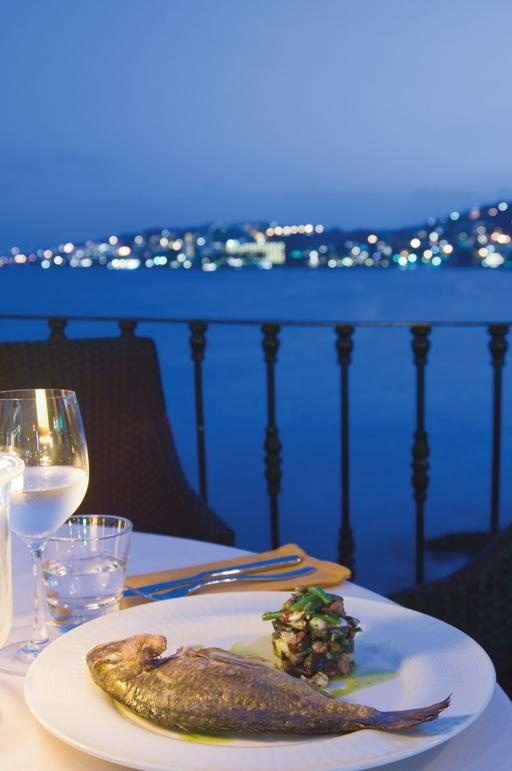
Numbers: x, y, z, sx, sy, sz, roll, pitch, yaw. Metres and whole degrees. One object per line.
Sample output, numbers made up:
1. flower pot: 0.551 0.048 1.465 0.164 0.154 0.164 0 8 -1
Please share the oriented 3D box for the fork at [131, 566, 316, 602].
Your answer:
1. fork: -0.030 0.199 0.810 0.123 0.007 0.033 -6 6 -43
